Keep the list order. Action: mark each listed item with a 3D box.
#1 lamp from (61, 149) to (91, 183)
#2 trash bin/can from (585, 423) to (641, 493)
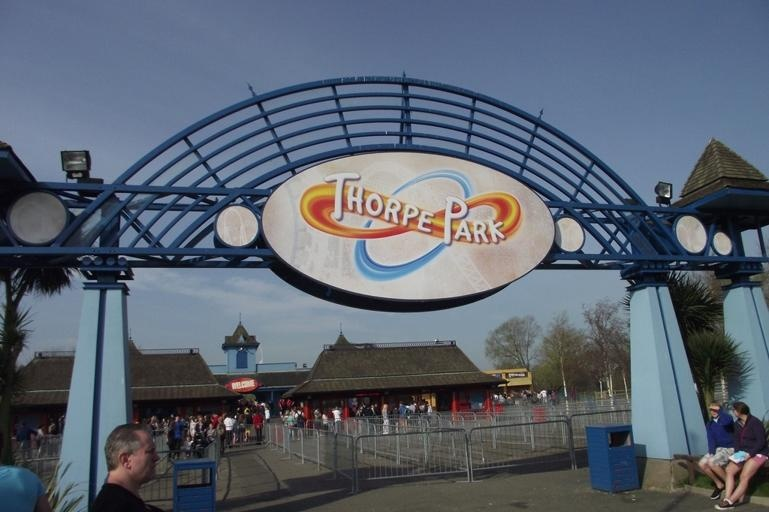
[{"bbox_3d":[-8.614,-2.489,18.482,0.729,0.923,0.946,1,-16,-17],"label":"lamp"},{"bbox_3d":[6.400,5.730,18.768,1.262,1.820,0.775,2,-16,-21],"label":"trash bin/can"}]
